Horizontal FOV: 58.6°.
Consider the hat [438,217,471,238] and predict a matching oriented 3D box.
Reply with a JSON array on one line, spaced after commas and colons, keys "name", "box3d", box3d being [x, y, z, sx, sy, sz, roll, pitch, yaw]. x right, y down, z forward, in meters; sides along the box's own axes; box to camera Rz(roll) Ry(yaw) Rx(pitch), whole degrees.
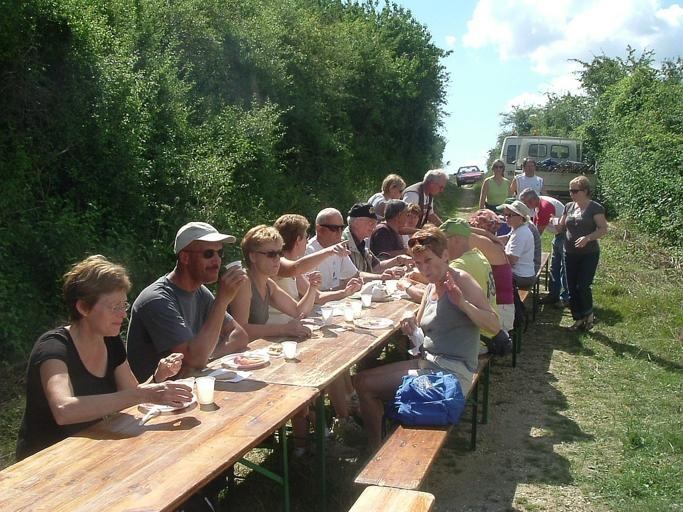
[{"name": "hat", "box3d": [1.133, -0.283, 6.224, 0.396, 0.180, 0.253, -5, 10, -31]}]

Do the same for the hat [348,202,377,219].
[{"name": "hat", "box3d": [0.263, -0.593, 7.875, 0.268, 0.155, 0.193, 3, 7, 2]}]

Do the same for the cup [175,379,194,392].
[{"name": "cup", "box3d": [-1.144, 0.939, 4.478, 0.103, 0.110, 0.137, 1, -4, 4]}]

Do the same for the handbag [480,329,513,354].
[{"name": "handbag", "box3d": [1.597, 0.897, 6.382, 0.310, 0.323, 0.242, -3, 2, 6]}]

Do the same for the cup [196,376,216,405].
[{"name": "cup", "box3d": [-0.965, 0.962, 4.304, 0.167, 0.189, 0.176, 0, 1, 0]}]

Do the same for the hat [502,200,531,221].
[{"name": "hat", "box3d": [2.530, -0.619, 8.718, 0.370, 0.133, 0.275, 22, -2, -25]}]

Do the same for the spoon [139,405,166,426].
[{"name": "spoon", "box3d": [-1.318, 1.103, 4.186, 0.064, 0.035, 0.124, 8, 23, 19]}]

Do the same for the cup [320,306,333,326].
[{"name": "cup", "box3d": [-0.154, 0.591, 5.990, 0.123, 0.149, 0.128, -1, -4, 0]}]

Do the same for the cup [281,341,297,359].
[{"name": "cup", "box3d": [-0.437, 0.785, 5.070, 0.119, 0.111, 0.126, -2, 5, 0]}]

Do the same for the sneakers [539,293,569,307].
[{"name": "sneakers", "box3d": [3.637, 0.784, 10.537, 0.572, 0.276, 0.206, 0, -1, 5]}]

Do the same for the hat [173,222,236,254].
[{"name": "hat", "box3d": [-1.169, -0.182, 5.136, 0.413, 0.222, 0.278, -8, 4, -5]}]

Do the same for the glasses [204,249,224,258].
[{"name": "glasses", "box3d": [-1.058, -0.025, 5.087, 0.055, 0.073, 0.210, 7, 11, 35]}]

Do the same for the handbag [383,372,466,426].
[{"name": "handbag", "box3d": [0.707, 1.217, 5.106, 0.428, 0.175, 0.454, -3, 15, 11]}]
